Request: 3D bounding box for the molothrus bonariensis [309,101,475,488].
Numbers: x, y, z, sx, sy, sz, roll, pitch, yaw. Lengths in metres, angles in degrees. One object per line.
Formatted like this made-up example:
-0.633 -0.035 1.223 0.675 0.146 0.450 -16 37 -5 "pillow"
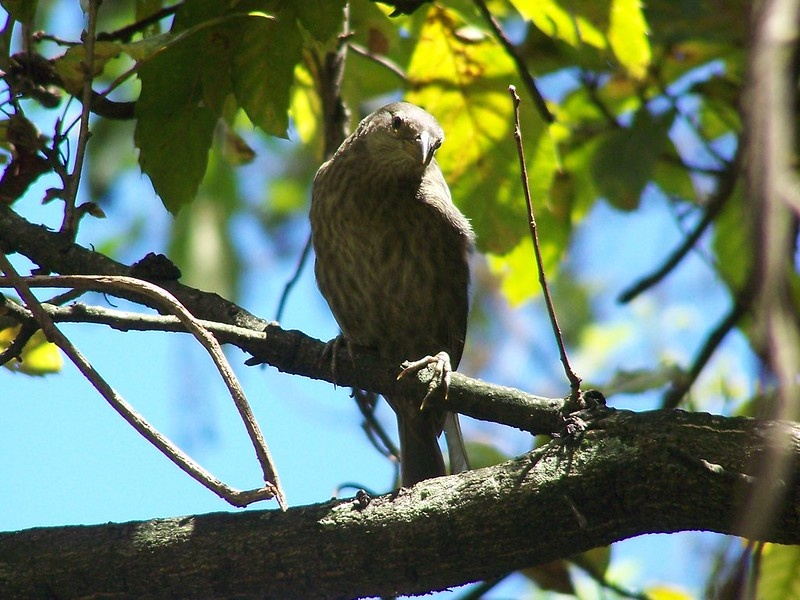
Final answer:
-0.023 0.170 7.314 0.589 0.913 2.129 2 -57 -1 "molothrus bonariensis"
